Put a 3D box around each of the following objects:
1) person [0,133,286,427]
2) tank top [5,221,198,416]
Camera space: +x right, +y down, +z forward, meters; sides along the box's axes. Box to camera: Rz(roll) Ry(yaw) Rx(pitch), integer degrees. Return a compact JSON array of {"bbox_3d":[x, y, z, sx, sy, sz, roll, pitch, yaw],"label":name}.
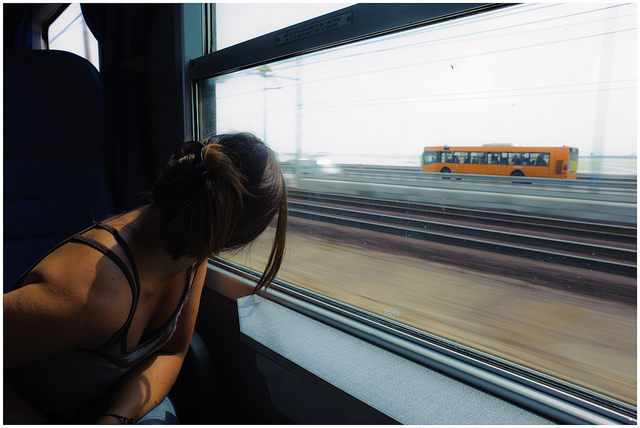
[{"bbox_3d":[-0.529,0.249,1.128,0.819,0.997,0.362,-2,12,-19],"label":"person"},{"bbox_3d":[-0.641,0.338,1.098,0.523,0.625,0.252,-6,14,-35],"label":"tank top"}]
